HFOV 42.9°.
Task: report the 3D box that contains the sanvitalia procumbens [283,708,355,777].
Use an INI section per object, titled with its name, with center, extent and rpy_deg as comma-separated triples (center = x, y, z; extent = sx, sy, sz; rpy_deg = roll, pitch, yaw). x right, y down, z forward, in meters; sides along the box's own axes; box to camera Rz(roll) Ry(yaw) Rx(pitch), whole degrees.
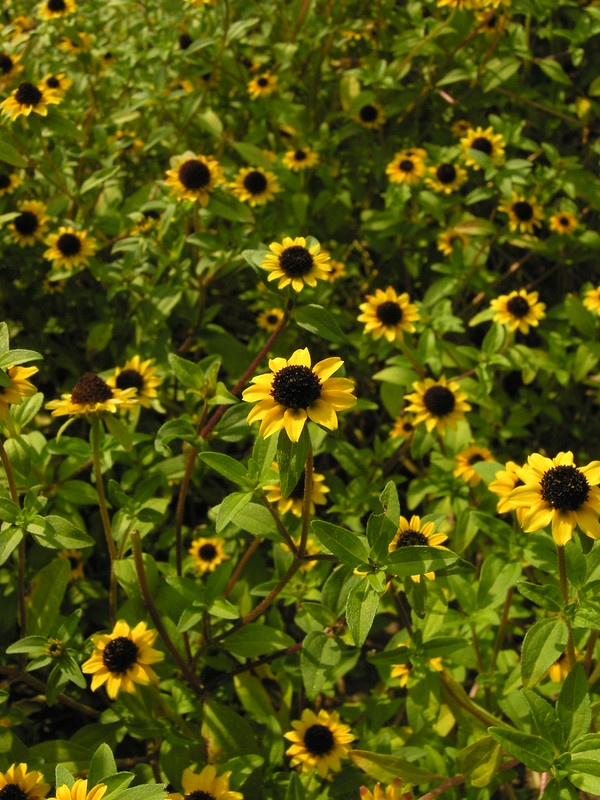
[sanvitalia procumbens]
center = 0.050, 0.887, 1.967
extent = 0.255, 0.077, 0.232
rpy_deg = 2, 60, -2
